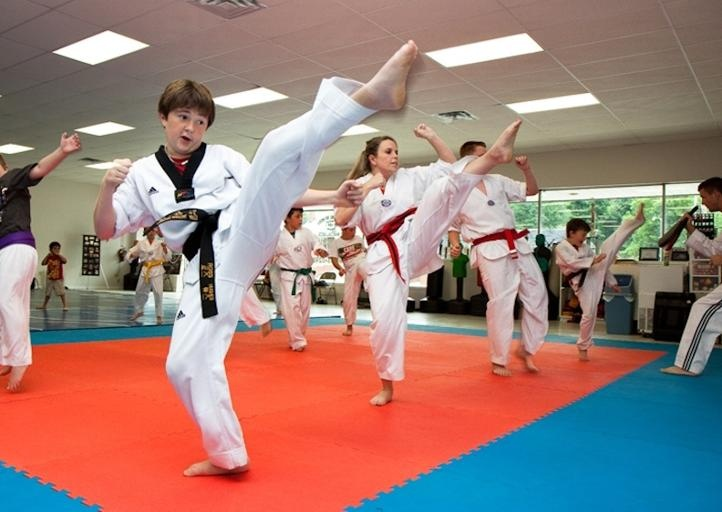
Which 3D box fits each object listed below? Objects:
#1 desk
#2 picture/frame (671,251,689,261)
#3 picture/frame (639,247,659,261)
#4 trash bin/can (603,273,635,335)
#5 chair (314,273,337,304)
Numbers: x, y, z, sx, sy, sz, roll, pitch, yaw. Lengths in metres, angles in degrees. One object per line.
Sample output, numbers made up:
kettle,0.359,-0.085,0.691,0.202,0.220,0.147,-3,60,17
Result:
desk,5.350,0.680,9.527,1.258,1.647,0.997,-2,-5,25
picture/frame,5.700,0.046,8.911,0.241,0.156,0.175,-4,-8,40
picture/frame,5.937,-0.018,10.290,0.281,0.229,0.098,2,0,29
trash bin/can,5.048,0.876,9.380,0.711,1.052,0.793,0,1,37
chair,-1.065,1.032,15.535,0.823,1.156,0.935,-1,-5,14
